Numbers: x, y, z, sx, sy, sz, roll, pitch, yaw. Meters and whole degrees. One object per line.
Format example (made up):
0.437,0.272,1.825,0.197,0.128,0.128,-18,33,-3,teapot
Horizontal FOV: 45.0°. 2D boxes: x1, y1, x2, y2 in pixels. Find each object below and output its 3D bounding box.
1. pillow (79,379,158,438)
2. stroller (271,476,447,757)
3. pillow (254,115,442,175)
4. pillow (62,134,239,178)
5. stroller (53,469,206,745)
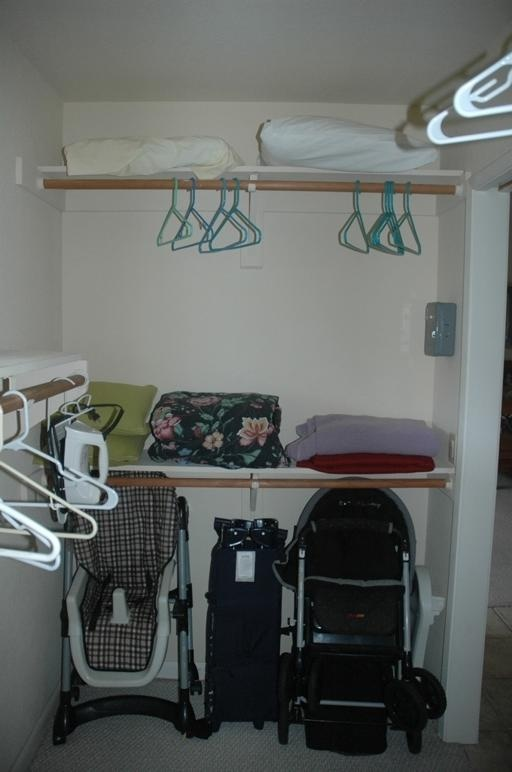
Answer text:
-0.492,0.077,2.276,0.181,0.220,0.243,4,34,-6,pillow
0.293,0.844,2.465,0.776,1.112,0.723,0,-12,6,stroller
0.282,-0.786,2.026,0.388,0.111,0.267,5,25,-11,pillow
-0.355,-0.750,2.014,0.366,0.093,0.230,-3,20,-4,pillow
-0.475,0.811,2.278,0.486,0.810,0.503,-2,7,-13,stroller
